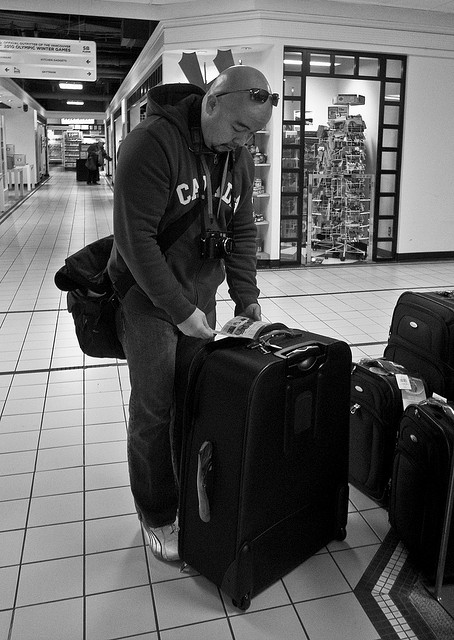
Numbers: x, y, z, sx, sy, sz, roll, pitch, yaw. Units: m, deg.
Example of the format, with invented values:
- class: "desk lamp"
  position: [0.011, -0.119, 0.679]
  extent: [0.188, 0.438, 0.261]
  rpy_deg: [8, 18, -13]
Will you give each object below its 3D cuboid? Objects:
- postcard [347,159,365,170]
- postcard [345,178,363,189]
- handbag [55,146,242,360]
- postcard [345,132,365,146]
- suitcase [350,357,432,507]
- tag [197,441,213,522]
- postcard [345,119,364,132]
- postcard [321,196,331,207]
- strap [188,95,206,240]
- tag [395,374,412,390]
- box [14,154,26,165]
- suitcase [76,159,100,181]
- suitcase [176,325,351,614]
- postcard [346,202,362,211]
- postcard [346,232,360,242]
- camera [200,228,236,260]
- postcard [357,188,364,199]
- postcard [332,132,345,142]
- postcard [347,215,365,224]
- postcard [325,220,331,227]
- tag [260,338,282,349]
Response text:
- class: "postcard"
  position: [1.901, -2.345, 7.041]
  extent: [0.278, 0.160, 0.134]
  rpy_deg: [-5, 11, -14]
- class: "postcard"
  position: [1.884, -2.059, 7.034]
  extent: [0.269, 0.157, 0.065]
  rpy_deg: [-5, 10, -16]
- class: "handbag"
  position: [-0.272, -0.251, 1.378]
  extent: [0.375, 0.712, 0.364]
  rpy_deg: [5, 19, -25]
- class: "postcard"
  position: [1.901, -2.733, 7.063]
  extent: [0.325, 0.195, 0.080]
  rpy_deg: [-7, 11, -24]
- class: "suitcase"
  position: [0.551, 0.370, 1.738]
  extent: [0.216, 0.493, 0.312]
  rpy_deg: [-9, 14, -26]
- class: "tag"
  position: [-0.054, 0.381, 1.088]
  extent: [0.044, 0.204, 0.034]
  rpy_deg: [-9, 12, -41]
- class: "postcard"
  position: [1.885, -2.919, 7.035]
  extent: [0.202, 0.248, 0.176]
  rpy_deg: [-4, 22, -8]
- class: "postcard"
  position: [1.526, -1.878, 7.408]
  extent: [0.100, 0.234, 0.112]
  rpy_deg: [1, 0, 9]
- class: "strap"
  position: [-0.049, -0.392, 1.169]
  extent: [0.013, 0.284, 0.100]
  rpy_deg: [-5, 14, -21]
- class: "tag"
  position: [0.612, 0.217, 1.661]
  extent: [0.055, 0.008, 0.071]
  rpy_deg: [10, 44, -15]
- class: "box"
  position: [-7.200, -5.676, 16.547]
  extent: [0.277, 0.375, 0.705]
  rpy_deg: [-4, 11, -15]
- class: "suitcase"
  position: [-6.652, -7.279, 22.667]
  extent: [0.820, 1.461, 1.302]
  rpy_deg: [1, 9, 3]
- class: "suitcase"
  position: [0.118, 0.333, 1.219]
  extent: [0.424, 0.627, 0.207]
  rpy_deg: [-13, 20, -35]
- class: "postcard"
  position: [1.895, -1.731, 7.111]
  extent: [0.217, 0.124, 0.037]
  rpy_deg: [-4, 10, -11]
- class: "postcard"
  position: [1.911, -1.233, 7.244]
  extent: [0.194, 0.236, 0.116]
  rpy_deg: [-2, 1, -10]
- class: "camera"
  position: [-0.026, -0.190, 1.225]
  extent: [0.059, 0.092, 0.112]
  rpy_deg: [7, 11, 35]
- class: "postcard"
  position: [1.980, -1.913, 7.070]
  extent: [0.111, 0.256, 0.136]
  rpy_deg: [1, 13, 15]
- class: "postcard"
  position: [1.662, -2.764, 7.067]
  extent: [0.154, 0.182, 0.118]
  rpy_deg: [0, 11, -5]
- class: "postcard"
  position: [1.934, -1.539, 7.137]
  extent: [0.218, 0.150, 0.157]
  rpy_deg: [4, 8, -14]
- class: "postcard"
  position: [1.583, -1.543, 7.448]
  extent: [0.069, 0.159, 0.084]
  rpy_deg: [1, 8, 27]
- class: "tag"
  position: [0.105, 0.057, 1.129]
  extent: [0.011, 0.014, 0.105]
  rpy_deg: [-3, 16, -15]
